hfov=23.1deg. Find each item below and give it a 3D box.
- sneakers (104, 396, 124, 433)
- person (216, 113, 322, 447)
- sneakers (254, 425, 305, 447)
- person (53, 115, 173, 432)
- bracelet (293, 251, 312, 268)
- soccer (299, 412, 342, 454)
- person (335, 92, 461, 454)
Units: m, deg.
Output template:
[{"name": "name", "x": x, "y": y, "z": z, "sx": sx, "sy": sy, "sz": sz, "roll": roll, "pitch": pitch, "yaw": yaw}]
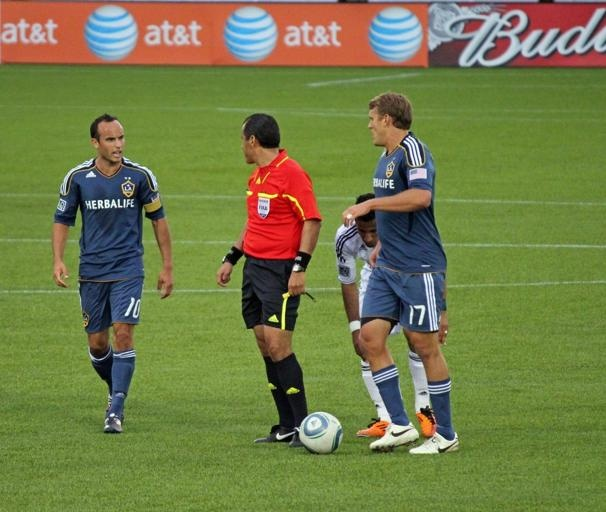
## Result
[{"name": "sneakers", "x": -2.036, "y": 1.722, "z": 15.964, "sx": 0.209, "sy": 0.346, "sz": 0.295, "roll": 1, "pitch": 7, "yaw": 1}, {"name": "person", "x": -0.289, "y": 0.232, "z": 15.871, "sx": 0.897, "sy": 3.470, "sz": 0.658, "roll": 4, "pitch": 7, "yaw": 20}, {"name": "sneakers", "x": -0.234, "y": 1.920, "z": 15.763, "sx": 0.560, "sy": 0.225, "sz": 0.191, "roll": 4, "pitch": -6, "yaw": 1}, {"name": "person", "x": -2.106, "y": 0.131, "z": 16.297, "sx": 1.307, "sy": 3.325, "sz": 0.972, "roll": 1, "pitch": 7, "yaw": -4}, {"name": "bracelet", "x": -0.002, "y": 0.032, "z": 15.789, "sx": 0.159, "sy": 0.168, "sz": 0.167, "roll": 23, "pitch": -8, "yaw": 25}, {"name": "soccer", "x": 0.192, "y": 1.851, "z": 15.489, "sx": 0.413, "sy": 0.401, "sz": 0.408, "roll": 4, "pitch": 3, "yaw": 7}, {"name": "person", "x": 1.088, "y": 0.177, "z": 15.531, "sx": 1.173, "sy": 3.727, "sz": 0.738, "roll": 2, "pitch": 7, "yaw": 10}]
